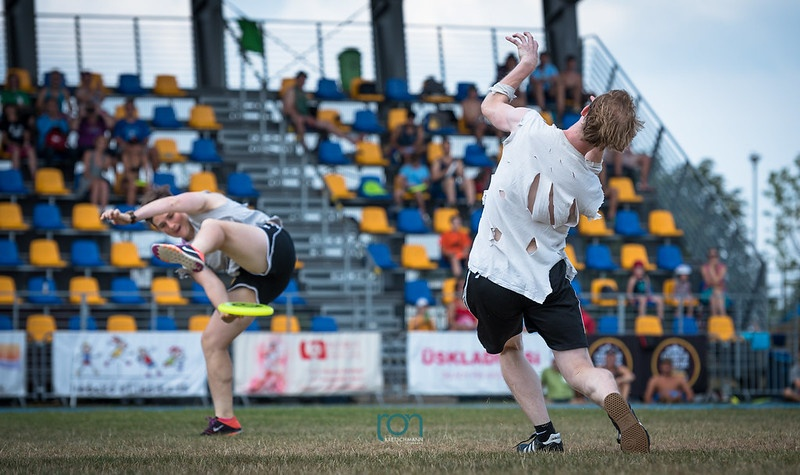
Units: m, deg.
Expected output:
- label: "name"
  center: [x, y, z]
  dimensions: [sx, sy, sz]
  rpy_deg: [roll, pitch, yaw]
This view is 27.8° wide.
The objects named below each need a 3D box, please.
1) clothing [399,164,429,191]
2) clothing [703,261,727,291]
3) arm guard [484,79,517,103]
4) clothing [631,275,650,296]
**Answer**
- label: "clothing"
  center: [0.334, -1.360, 36.416]
  dimensions: [0.584, 0.623, 0.628]
  rpy_deg: [-3, -24, -9]
- label: "clothing"
  center: [6.174, 0.716, 31.618]
  dimensions: [0.559, 0.521, 0.400]
  rpy_deg: [0, 0, -11]
- label: "arm guard"
  center: [1.743, -2.528, 27.125]
  dimensions: [0.316, 0.246, 0.375]
  rpy_deg: [13, -7, 28]
- label: "clothing"
  center: [5.174, 0.981, 34.739]
  dimensions: [0.450, 0.558, 0.319]
  rpy_deg: [5, 4, 5]
